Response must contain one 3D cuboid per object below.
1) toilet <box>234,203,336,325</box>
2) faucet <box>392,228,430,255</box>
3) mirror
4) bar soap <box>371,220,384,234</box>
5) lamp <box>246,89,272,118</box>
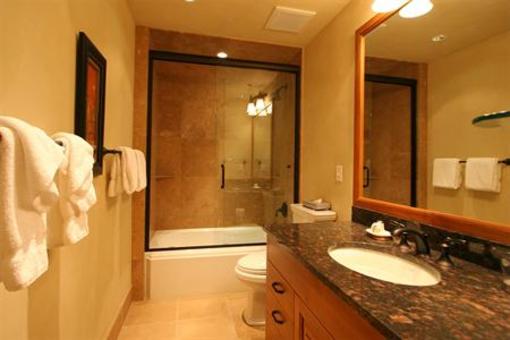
[{"bbox_3d":[0.266,0.843,3.592,0.973,1.191,0.872,1,-4,-8],"label":"toilet"},{"bbox_3d":[0.935,0.420,2.215,0.208,0.140,0.102,2,3,22],"label":"faucet"},{"bbox_3d":[1.057,-0.382,2.464,0.162,1.503,1.084,0,3,-24],"label":"mirror"},{"bbox_3d":[0.798,0.377,2.446,0.087,0.084,0.063,0,-4,40],"label":"bar soap"},{"bbox_3d":[0.040,-0.686,3.828,0.256,0.167,0.253,-2,6,2],"label":"lamp"}]
